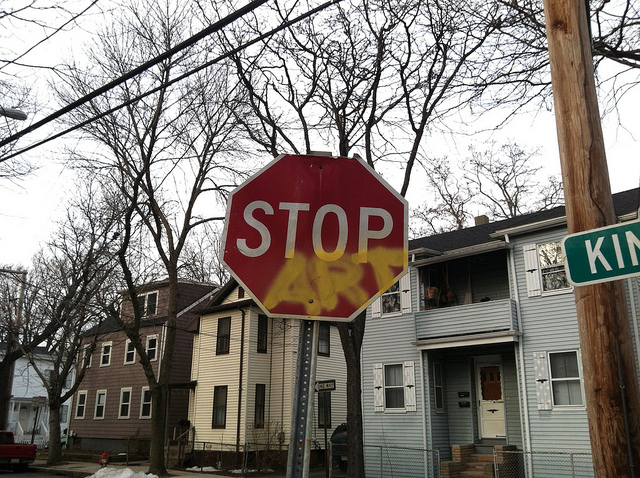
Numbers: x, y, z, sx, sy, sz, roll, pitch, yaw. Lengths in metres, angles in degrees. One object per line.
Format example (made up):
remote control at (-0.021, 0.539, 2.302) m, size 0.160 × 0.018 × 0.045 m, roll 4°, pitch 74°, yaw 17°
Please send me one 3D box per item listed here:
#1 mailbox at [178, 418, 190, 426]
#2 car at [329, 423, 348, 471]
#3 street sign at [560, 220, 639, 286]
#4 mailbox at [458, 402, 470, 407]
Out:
mailbox at (-6.630, 9.115, 27.166) m, size 0.518 × 0.287 × 1.330 m, roll 2°, pitch -18°, yaw -15°
car at (0.800, 8.307, 21.693) m, size 0.591 × 1.689 × 1.451 m, roll -2°, pitch -16°, yaw 0°
street sign at (2.657, 0.123, 5.233) m, size 0.613 × 0.458 × 0.015 m, roll -15°, pitch -23°, yaw 30°
mailbox at (5.313, 6.125, 20.267) m, size 0.087 × 0.171 × 0.447 m, roll 9°, pitch -21°, yaw -33°
